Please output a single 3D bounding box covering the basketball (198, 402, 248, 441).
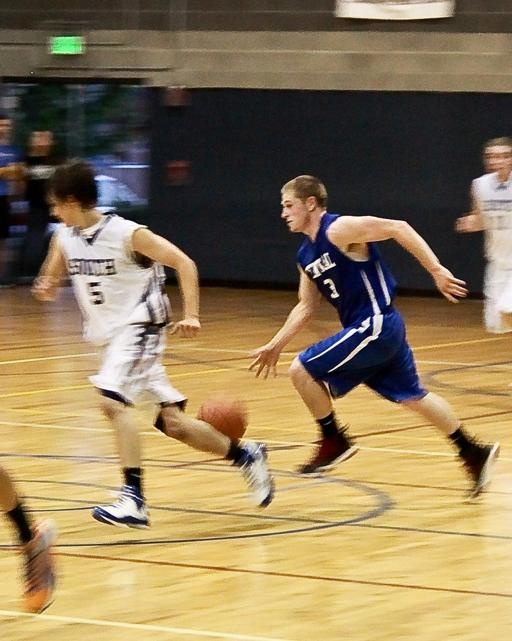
[{"bbox_3d":[-0.118,0.435,3.280,0.237,0.199,0.198,-14,4,3],"label":"basketball"}]

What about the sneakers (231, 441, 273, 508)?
[{"bbox_3d":[-0.002,0.609,2.870,0.126,0.309,0.147,-27,22,5],"label":"sneakers"}]

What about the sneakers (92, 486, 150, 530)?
[{"bbox_3d":[-0.490,0.654,2.485,0.102,0.139,0.247,-14,-24,39],"label":"sneakers"}]

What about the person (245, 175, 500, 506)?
[{"bbox_3d":[0.465,0.060,3.138,0.977,1.459,0.567,-4,-3,25],"label":"person"}]

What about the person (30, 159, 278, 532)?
[{"bbox_3d":[-0.375,0.076,2.616,0.716,1.336,0.466,-3,-3,-6],"label":"person"}]

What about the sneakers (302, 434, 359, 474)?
[{"bbox_3d":[0.346,0.611,3.361,0.300,0.164,0.099,-25,-16,17],"label":"sneakers"}]
